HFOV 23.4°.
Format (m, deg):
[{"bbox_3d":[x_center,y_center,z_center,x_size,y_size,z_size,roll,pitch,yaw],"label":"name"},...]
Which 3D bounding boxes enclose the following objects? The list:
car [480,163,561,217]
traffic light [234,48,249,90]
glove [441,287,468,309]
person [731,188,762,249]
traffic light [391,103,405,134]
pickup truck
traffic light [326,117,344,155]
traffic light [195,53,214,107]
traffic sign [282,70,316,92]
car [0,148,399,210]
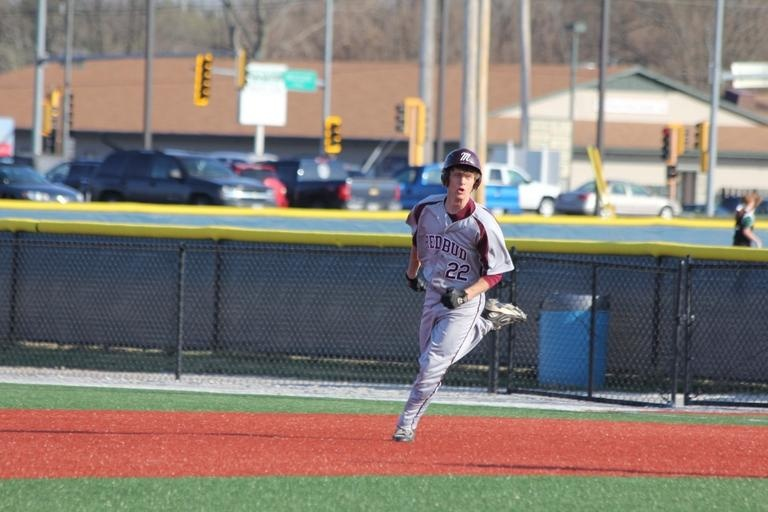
[{"bbox_3d":[2.385,-1.293,36.598,2.255,1.001,1.020,-4,5,-32],"label":"car"},{"bbox_3d":[-2.522,-3.359,32.996,0.145,0.566,0.589,5,4,-2],"label":"traffic light"},{"bbox_3d":[0.932,0.532,24.042,0.320,0.220,0.161,4,13,-10],"label":"glove"},{"bbox_3d":[5.742,-0.595,29.022,0.417,0.851,0.853,2,3,10],"label":"person"},{"bbox_3d":[0.302,-2.555,33.161,0.120,0.434,0.485,-3,-29,-9],"label":"traffic light"},{"bbox_3d":[1.446,-1.328,35.038,2.327,0.851,1.009,-3,4,-11],"label":"pickup truck"},{"bbox_3d":[-0.867,-2.228,33.363,0.211,0.656,0.689,-3,11,-31],"label":"traffic light"},{"bbox_3d":[-3.281,-3.262,33.685,0.318,0.940,0.584,1,3,-7],"label":"traffic light"},{"bbox_3d":[-1.466,-3.222,33.468,0.646,0.403,0.498,1,3,-6],"label":"traffic sign"},{"bbox_3d":[-2.784,-1.431,33.403,6.459,0.955,3.163,1,3,-2],"label":"car"}]
